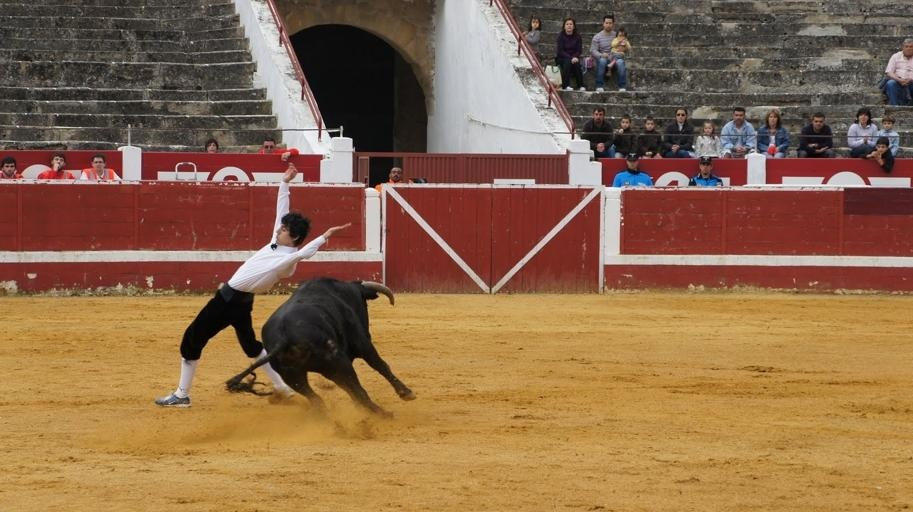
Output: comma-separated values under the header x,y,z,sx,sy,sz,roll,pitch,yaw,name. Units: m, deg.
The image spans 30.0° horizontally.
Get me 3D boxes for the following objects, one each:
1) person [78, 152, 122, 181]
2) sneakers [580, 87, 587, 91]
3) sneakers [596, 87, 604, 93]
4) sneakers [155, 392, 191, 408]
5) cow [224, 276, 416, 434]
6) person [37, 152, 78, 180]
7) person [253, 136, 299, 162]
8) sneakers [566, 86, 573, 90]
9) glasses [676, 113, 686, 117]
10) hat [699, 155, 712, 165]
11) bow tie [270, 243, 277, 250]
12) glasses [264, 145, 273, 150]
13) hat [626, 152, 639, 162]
x,y,z,sx,sy,sz,roll,pitch,yaw,name
-7.293,-1.850,34.880,0.806,0.569,0.937,-1,3,-12,person
2.879,-3.887,39.043,0.093,0.106,0.168,-2,-9,0,sneakers
3.269,-3.856,38.948,0.203,0.136,0.309,0,3,5,sneakers
-4.739,2.427,28.821,0.659,0.268,0.223,3,-4,-3,sneakers
-2.227,1.491,28.440,2.584,2.312,0.794,-1,3,-8,cow
-8.173,-1.808,34.830,1.042,0.706,0.564,1,-5,-24,person
-3.746,-2.269,35.772,0.798,0.357,0.558,5,5,3,person
2.563,-3.883,38.985,0.138,0.056,0.128,1,25,0,sneakers
4.872,-3.102,36.804,0.192,0.078,0.103,-2,4,-32,glasses
5.238,-2.077,35.976,0.227,0.128,0.281,1,-2,7,hat
-3.049,-0.196,28.485,0.094,0.115,0.045,4,-5,6,bow tie
-3.948,-2.353,35.979,0.162,0.143,0.108,0,-2,-9,glasses
3.721,-2.151,36.084,0.249,0.191,0.255,0,3,1,hat
